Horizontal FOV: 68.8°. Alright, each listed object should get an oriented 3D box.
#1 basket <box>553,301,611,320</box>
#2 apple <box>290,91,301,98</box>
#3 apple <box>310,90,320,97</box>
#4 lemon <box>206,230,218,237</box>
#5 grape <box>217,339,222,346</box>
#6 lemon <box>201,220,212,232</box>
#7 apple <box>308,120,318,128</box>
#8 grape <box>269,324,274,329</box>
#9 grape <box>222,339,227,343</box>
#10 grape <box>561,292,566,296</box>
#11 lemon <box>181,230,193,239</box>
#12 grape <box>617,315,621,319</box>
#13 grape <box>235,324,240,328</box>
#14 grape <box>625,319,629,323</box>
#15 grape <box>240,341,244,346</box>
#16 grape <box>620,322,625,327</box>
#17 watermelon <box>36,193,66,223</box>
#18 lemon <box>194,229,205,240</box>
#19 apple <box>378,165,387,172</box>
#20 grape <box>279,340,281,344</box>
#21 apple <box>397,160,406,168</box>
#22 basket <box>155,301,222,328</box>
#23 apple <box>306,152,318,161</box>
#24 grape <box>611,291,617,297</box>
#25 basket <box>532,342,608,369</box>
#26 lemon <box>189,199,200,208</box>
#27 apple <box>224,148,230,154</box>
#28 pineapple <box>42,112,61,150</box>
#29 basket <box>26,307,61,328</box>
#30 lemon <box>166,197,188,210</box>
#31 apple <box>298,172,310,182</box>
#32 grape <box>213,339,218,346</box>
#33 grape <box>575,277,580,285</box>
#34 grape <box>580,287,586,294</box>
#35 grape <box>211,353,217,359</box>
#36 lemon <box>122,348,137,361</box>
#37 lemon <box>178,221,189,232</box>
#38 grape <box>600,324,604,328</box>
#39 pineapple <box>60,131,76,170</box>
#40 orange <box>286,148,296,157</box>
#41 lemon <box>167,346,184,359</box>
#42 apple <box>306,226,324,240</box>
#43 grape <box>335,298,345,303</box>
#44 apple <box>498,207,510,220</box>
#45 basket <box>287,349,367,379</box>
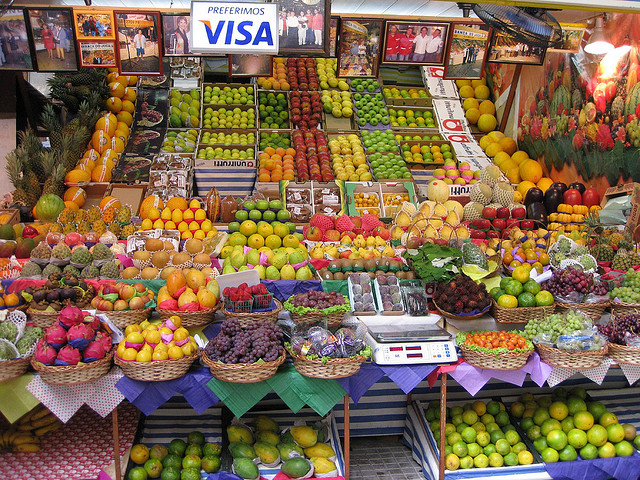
[{"bbox_3d":[2.328,0.538,3.990,0.246,0.087,0.254,1,-6,-7],"label":"basket"},{"bbox_3d":[-0.446,-2.563,8.201,0.190,0.101,0.172,-5,22,-7],"label":"apple"},{"bbox_3d":[-0.096,-2.615,8.288,0.114,0.066,0.118,3,9,14],"label":"apple"},{"bbox_3d":[-1.114,-0.075,4.770,0.062,0.078,0.063,14,0,-34],"label":"lemon"},{"bbox_3d":[-0.717,0.723,3.311,0.033,0.028,0.020,-2,21,1],"label":"grape"},{"bbox_3d":[-1.200,-0.151,4.868,0.084,0.107,0.088,3,28,9],"label":"lemon"},{"bbox_3d":[-0.121,-1.954,7.870,0.121,0.146,0.127,6,50,-1],"label":"apple"},{"bbox_3d":[-0.358,0.636,3.420,0.022,0.024,0.023,4,8,7],"label":"grape"},{"bbox_3d":[-0.684,0.711,3.308,0.024,0.008,0.024,-1,2,-39],"label":"grape"},{"bbox_3d":[2.118,0.469,4.071,0.032,0.019,0.032,-16,-6,33],"label":"grape"},{"bbox_3d":[-1.358,-0.054,4.737,0.079,0.100,0.078,3,-16,-11],"label":"lemon"},{"bbox_3d":[2.489,0.639,3.893,0.035,0.020,0.036,-3,11,-8],"label":"grape"},{"bbox_3d":[-0.611,0.624,3.404,0.031,0.018,0.025,2,3,13],"label":"grape"},{"bbox_3d":[2.427,0.637,3.690,0.017,0.018,0.018,5,23,18],"label":"grape"},{"bbox_3d":[-0.552,0.724,3.269,0.018,0.019,0.019,-2,36,-1],"label":"grape"},{"bbox_3d":[2.394,0.666,3.697,0.030,0.033,0.015,-3,-6,0],"label":"grape"},{"bbox_3d":[-3.139,-0.364,5.417,0.275,0.278,0.325,17,3,-13],"label":"watermelon"},{"bbox_3d":[-1.214,-0.063,4.713,0.079,0.096,0.083,4,49,6],"label":"lemon"},{"bbox_3d":[0.940,-1.092,7.049,0.082,0.087,0.111,-1,9,-7],"label":"apple"},{"bbox_3d":[-0.302,0.745,3.432,0.019,0.020,0.024,7,51,-13],"label":"grape"},{"bbox_3d":[1.243,-1.195,7.167,0.102,0.108,0.125,-13,-19,12],"label":"apple"},{"bbox_3d":[-1.006,0.606,3.726,0.256,0.084,0.264,0,-2,-8],"label":"basket"},{"bbox_3d":[-0.132,-1.311,7.210,0.200,0.080,0.157,-10,23,-18],"label":"apple"},{"bbox_3d":[2.570,0.467,4.095,0.032,0.041,0.034,0,-21,-3],"label":"grape"},{"bbox_3d":[1.934,0.908,3.599,0.278,0.090,0.276,1,0,-16],"label":"basket"},{"bbox_3d":[-1.372,-0.403,5.125,0.087,0.109,0.091,-5,5,9],"label":"lemon"},{"bbox_3d":[-1.449,-1.375,7.192,0.079,0.063,0.080,0,-3,-2],"label":"apple"},{"bbox_3d":[-3.887,-1.595,6.736,0.169,0.460,0.721,-13,24,-27],"label":"pineapple"},{"bbox_3d":[-2.115,0.549,3.512,0.191,0.095,0.198,1,-3,-6],"label":"basket"},{"bbox_3d":[-1.549,-0.397,5.056,0.149,0.155,0.153,5,17,-39],"label":"lemon"},{"bbox_3d":[-0.253,-0.907,6.688,0.141,0.146,0.146,2,17,0],"label":"apple"},{"bbox_3d":[-0.751,0.723,3.322,0.025,0.015,0.021,-7,-22,21],"label":"grape"},{"bbox_3d":[2.228,0.358,4.062,0.040,0.049,0.042,-1,12,4],"label":"grape"},{"bbox_3d":[2.277,0.431,4.050,0.032,0.039,0.033,-4,-10,-2],"label":"grape"},{"bbox_3d":[-0.759,0.821,3.304,0.028,0.016,0.029,7,8,23],"label":"grape"},{"bbox_3d":[-1.343,0.803,3.284,0.078,0.097,0.081,25,-32,-11],"label":"lemon"},{"bbox_3d":[-1.420,-0.142,4.824,0.082,0.103,0.085,0,2,-1],"label":"lemon"},{"bbox_3d":[2.330,0.711,3.864,0.028,0.022,0.038,-14,-15,25],"label":"grape"},{"bbox_3d":[-3.532,-1.247,6.552,0.122,0.442,0.375,-8,22,-15],"label":"pineapple"},{"bbox_3d":[-0.464,-1.358,7.203,0.115,0.121,0.118,-1,8,-3],"label":"orange"},{"bbox_3d":[-1.039,0.799,3.332,0.077,0.083,0.092,-14,-21,4],"label":"lemon"},{"bbox_3d":[-0.047,-0.057,5.107,0.135,0.147,0.168,2,-25,29],"label":"apple"},{"bbox_3d":[0.167,0.486,3.769,0.061,0.031,0.032,-8,22,-14],"label":"grape"},{"bbox_3d":[2.340,-0.342,5.962,0.133,0.138,0.138,3,-10,1],"label":"apple"},{"bbox_3d":[0.017,0.845,3.623,0.597,0.166,0.533,0,9,-15],"label":"basket"}]
